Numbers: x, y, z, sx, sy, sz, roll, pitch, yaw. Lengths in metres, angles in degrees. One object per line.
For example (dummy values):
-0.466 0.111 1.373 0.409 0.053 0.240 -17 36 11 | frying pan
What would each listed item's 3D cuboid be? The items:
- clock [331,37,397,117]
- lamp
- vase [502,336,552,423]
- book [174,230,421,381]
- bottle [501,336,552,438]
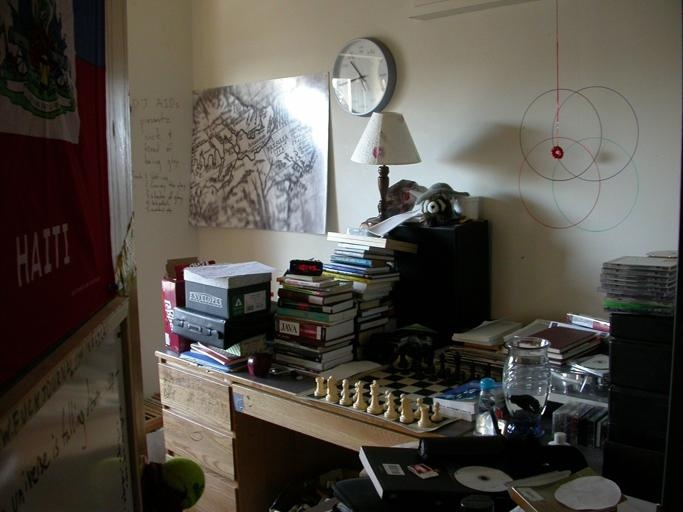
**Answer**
0.099 -0.960 3.036 0.339 0.386 0.068 -13 25 -19 | clock
0.228 -0.424 2.730 0.292 0.558 0.302 3 14 7 | lamp
0.520 0.341 1.611 0.120 0.238 0.105 11 15 31 | vase
-0.122 0.149 2.606 0.686 0.601 1.014 -1 11 -44 | book
0.504 0.372 1.554 0.125 0.247 0.343 5 7 21 | bottle
